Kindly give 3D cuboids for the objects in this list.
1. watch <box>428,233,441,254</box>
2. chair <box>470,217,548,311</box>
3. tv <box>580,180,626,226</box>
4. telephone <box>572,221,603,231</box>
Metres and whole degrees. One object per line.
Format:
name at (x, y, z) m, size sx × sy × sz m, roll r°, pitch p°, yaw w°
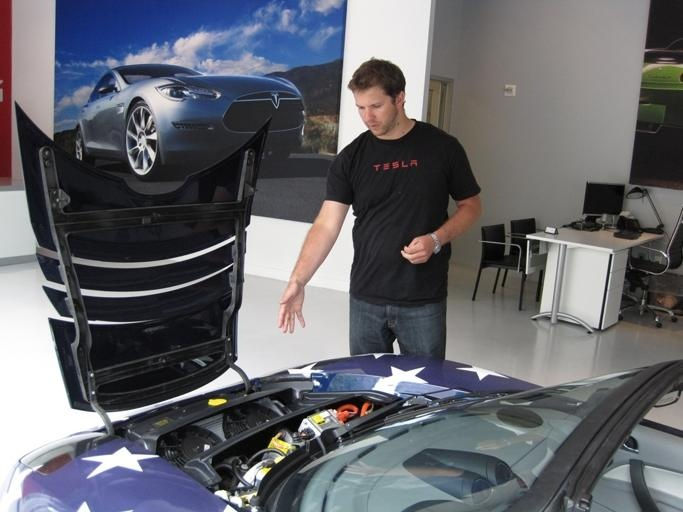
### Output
watch at (0.400, -0.051, 2.069) m, size 0.049 × 0.084 × 0.080 m, roll -11°, pitch 10°, yaw -17°
chair at (2.090, 0.121, 6.018) m, size 0.953 × 1.296 × 0.759 m, roll -9°, pitch 13°, yaw -40°
tv at (3.277, -0.659, 6.115) m, size 0.533 × 0.530 × 0.046 m, roll 12°, pitch 1°, yaw 5°
telephone at (2.933, -0.360, 5.861) m, size 0.160 × 0.075 × 0.216 m, roll -5°, pitch 12°, yaw -24°
